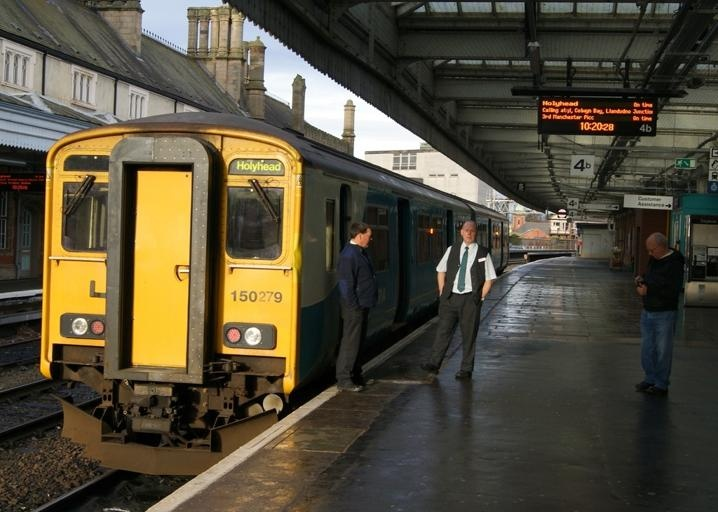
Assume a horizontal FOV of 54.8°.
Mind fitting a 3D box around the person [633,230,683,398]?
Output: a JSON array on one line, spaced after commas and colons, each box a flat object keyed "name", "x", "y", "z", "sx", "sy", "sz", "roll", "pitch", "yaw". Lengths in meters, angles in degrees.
[{"name": "person", "x": 3.959, "y": 0.767, "z": 9.179, "sx": 0.603, "sy": 1.711, "sz": 0.482, "roll": -2, "pitch": 1, "yaw": 22}]

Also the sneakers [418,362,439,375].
[{"name": "sneakers", "x": 0.974, "y": 1.628, "z": 10.014, "sx": 0.348, "sy": 0.125, "sz": 0.240, "roll": 15, "pitch": -14, "yaw": -27}]

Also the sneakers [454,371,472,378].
[{"name": "sneakers", "x": 1.487, "y": 1.706, "z": 9.914, "sx": 0.239, "sy": 0.088, "sz": 0.108, "roll": 4, "pitch": 8, "yaw": 4}]

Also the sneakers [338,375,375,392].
[{"name": "sneakers", "x": -0.036, "y": 1.712, "z": 9.310, "sx": 0.494, "sy": 0.221, "sz": 0.162, "roll": 4, "pitch": 4, "yaw": -28}]
